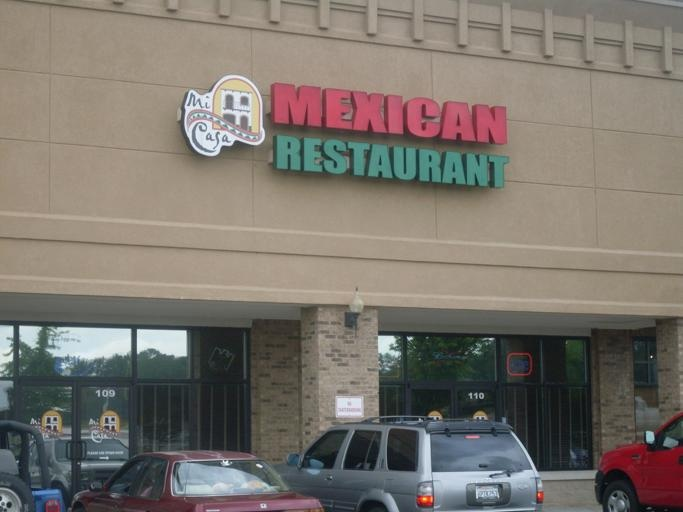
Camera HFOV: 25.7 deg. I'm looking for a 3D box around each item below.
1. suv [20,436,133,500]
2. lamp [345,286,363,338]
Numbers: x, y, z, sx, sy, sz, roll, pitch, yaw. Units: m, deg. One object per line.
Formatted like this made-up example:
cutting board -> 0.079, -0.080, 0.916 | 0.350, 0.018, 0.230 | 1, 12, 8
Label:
suv -> -6.638, 5.313, 38.609 | 1.381, 1.393, 2.412 | 5, -14, -34
lamp -> 0.368, 1.374, 37.988 | 0.337, 1.051, 0.625 | -5, -8, -7
